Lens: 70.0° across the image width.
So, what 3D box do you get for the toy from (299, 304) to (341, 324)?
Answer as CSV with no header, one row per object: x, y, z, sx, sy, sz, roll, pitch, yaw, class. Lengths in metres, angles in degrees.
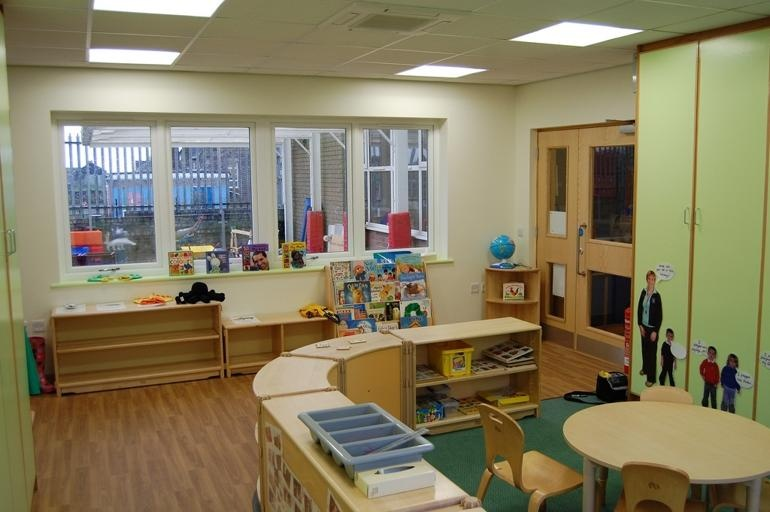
-0.879,0.781,7.533,0.413,0.131,0.264,8,5,-8,toy

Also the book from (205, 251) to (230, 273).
-2.280,0.079,7.552,0.298,0.296,0.100,0,-4,-20,book

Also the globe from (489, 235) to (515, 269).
1.866,-0.128,8.604,0.443,0.492,0.445,-3,10,2,globe

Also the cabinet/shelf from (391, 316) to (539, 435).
0.903,1.323,6.039,1.560,0.980,0.600,-3,1,-24,cabinet/shelf

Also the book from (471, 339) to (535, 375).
1.343,1.119,6.120,0.439,0.144,0.367,-5,9,-22,book

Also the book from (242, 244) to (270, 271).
-1.802,0.020,7.719,0.368,0.362,0.123,0,1,-4,book

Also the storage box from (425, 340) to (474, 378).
0.743,1.100,5.970,0.321,0.268,0.418,-2,3,-20,storage box

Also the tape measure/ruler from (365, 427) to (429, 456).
0.063,1.090,3.234,0.344,0.051,0.070,-23,28,5,tape measure/ruler

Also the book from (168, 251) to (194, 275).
-2.720,0.088,7.397,0.307,0.323,0.043,-2,6,-22,book

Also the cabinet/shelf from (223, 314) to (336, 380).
-1.447,1.175,7.598,1.387,0.671,0.521,-3,8,-21,cabinet/shelf

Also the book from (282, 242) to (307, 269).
-1.294,-0.012,7.897,0.380,0.412,0.058,0,5,-12,book
